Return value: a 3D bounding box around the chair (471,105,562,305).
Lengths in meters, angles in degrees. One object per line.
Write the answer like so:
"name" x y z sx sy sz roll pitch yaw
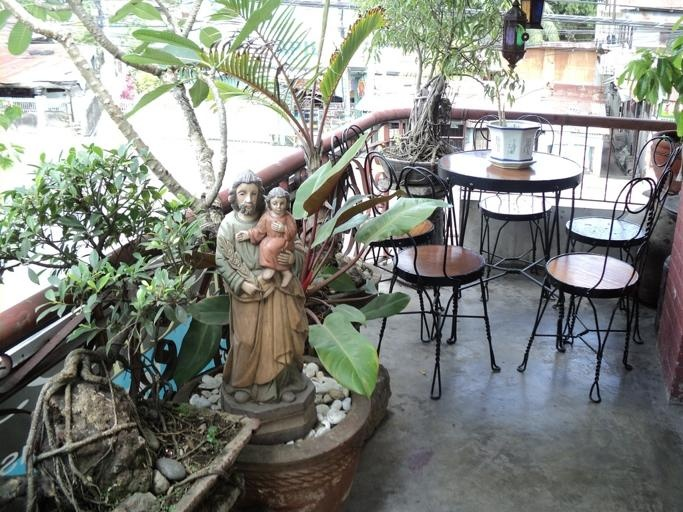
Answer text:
"chair" 1.403 -0.456 3.673 0.638 1.388 0.620 -20 22 -30

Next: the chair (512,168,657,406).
"chair" 1.550 0.115 2.942 0.603 1.330 0.588 19 14 5
